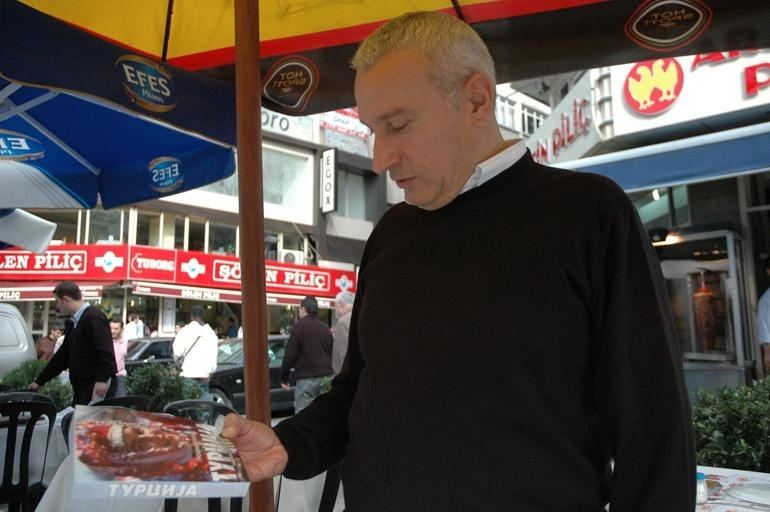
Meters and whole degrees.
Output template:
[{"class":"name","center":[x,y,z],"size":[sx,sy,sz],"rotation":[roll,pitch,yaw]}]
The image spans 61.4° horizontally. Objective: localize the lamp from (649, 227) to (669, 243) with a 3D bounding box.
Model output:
[{"class":"lamp","center":[3.205,-0.249,7.587],"size":[0.205,0.166,0.234],"rotation":[5,-12,-12]}]

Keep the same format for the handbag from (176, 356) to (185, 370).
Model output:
[{"class":"handbag","center":[-3.241,1.679,10.215],"size":[0.148,0.204,0.060],"rotation":[-19,-47,35]}]

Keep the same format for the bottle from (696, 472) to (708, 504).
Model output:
[{"class":"bottle","center":[1.584,1.138,3.241],"size":[0.041,0.137,0.219],"rotation":[-6,-10,27]}]
